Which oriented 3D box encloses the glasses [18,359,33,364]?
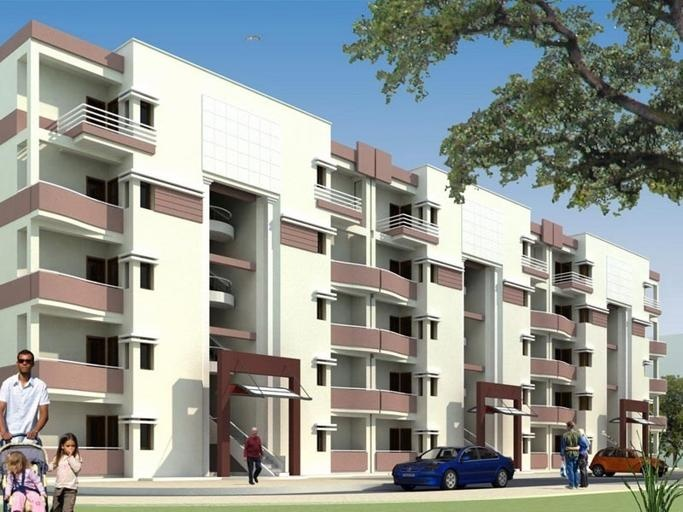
[{"bbox_3d":[-9.198,3.068,36.418,0.433,0.139,0.212,2,-21,-9],"label":"glasses"}]

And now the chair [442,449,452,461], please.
[{"bbox_3d":[4.350,8.192,51.999,0.340,0.345,0.311,4,-9,5],"label":"chair"}]
